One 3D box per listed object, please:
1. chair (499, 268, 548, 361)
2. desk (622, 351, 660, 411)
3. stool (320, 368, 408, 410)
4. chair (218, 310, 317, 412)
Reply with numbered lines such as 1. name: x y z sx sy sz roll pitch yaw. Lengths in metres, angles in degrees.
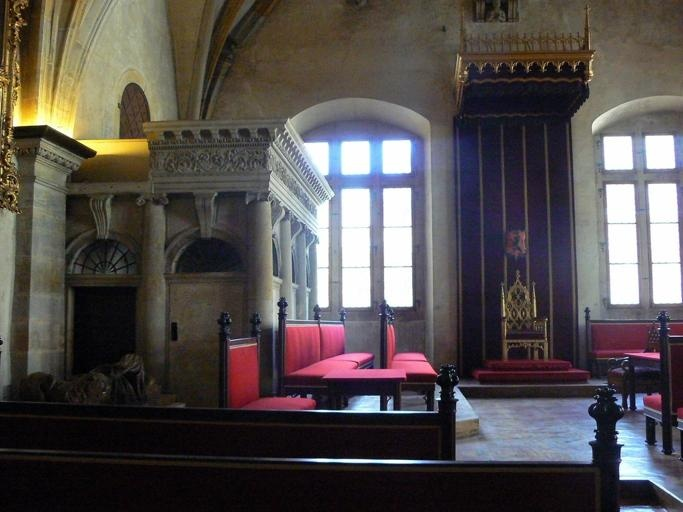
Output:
1. chair: 3.506 1.120 13.324 0.889 1.718 1.068 -3 -4 16
2. desk: 4.237 1.719 9.496 0.558 0.655 0.729 6 2 18
3. stool: 0.251 1.613 8.481 0.822 0.524 0.828 -1 -9 3
4. chair: -0.785 1.126 7.377 0.854 1.077 1.240 -2 -3 4
